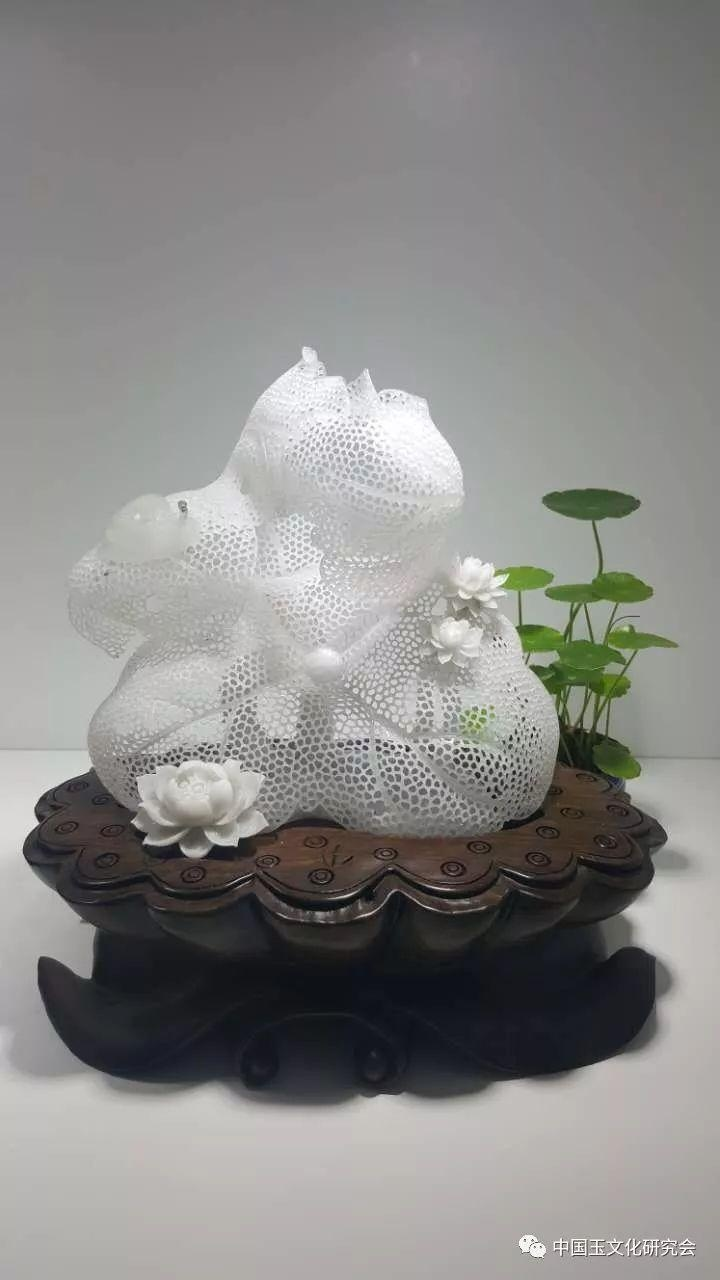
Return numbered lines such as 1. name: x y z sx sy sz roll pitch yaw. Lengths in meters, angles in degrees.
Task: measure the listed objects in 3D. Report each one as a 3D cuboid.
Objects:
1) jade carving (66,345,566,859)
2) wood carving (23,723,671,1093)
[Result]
1. jade carving: -0.052 -0.066 2.530 1.050 0.896 0.678 3 17 6
2. wood carving: -0.006 0.514 2.189 1.204 0.302 0.588 -1 13 -4
